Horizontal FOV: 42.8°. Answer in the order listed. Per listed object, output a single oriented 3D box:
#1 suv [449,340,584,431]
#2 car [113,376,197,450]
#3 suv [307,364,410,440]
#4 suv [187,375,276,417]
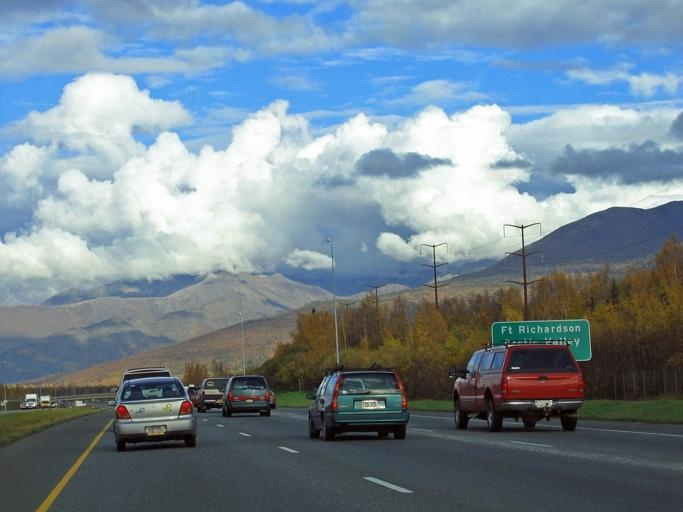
[{"bbox_3d":[6.100,4.706,31.005,3.683,2.959,6.552,0,-8,-8],"label":"suv"},{"bbox_3d":[-5.394,4.701,25.214,2.244,2.108,1.172,-5,8,-14],"label":"car"},{"bbox_3d":[0.400,4.865,28.988,2.551,2.350,5.164,1,-8,-12],"label":"suv"},{"bbox_3d":[-5.862,7.979,50.063,3.077,2.300,7.605,3,-3,-13],"label":"suv"}]
